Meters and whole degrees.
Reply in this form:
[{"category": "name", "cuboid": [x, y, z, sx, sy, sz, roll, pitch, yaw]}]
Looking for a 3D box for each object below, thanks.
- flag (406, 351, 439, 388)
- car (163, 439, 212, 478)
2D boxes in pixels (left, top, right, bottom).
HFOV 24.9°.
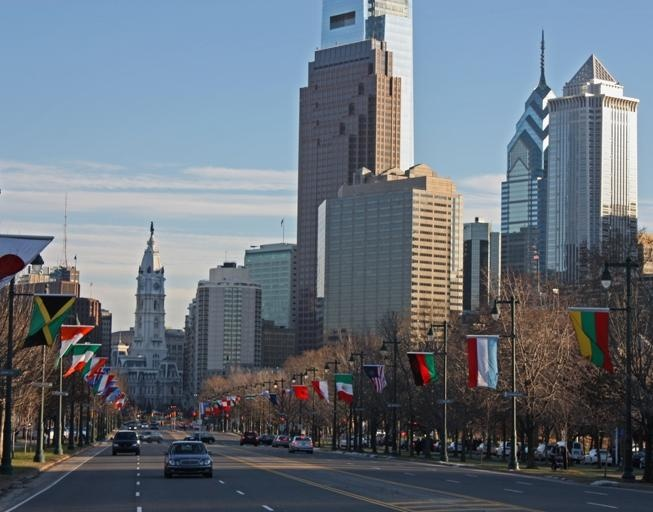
[{"category": "flag", "cuboid": [8.333, 9.759, 127.437, 2.005, 3.026, 2.172, -8, -13, 26]}, {"category": "car", "cuboid": [-10.617, 15.625, 112.206, 3.724, 3.084, 9.027, 0, -10, -7]}]
